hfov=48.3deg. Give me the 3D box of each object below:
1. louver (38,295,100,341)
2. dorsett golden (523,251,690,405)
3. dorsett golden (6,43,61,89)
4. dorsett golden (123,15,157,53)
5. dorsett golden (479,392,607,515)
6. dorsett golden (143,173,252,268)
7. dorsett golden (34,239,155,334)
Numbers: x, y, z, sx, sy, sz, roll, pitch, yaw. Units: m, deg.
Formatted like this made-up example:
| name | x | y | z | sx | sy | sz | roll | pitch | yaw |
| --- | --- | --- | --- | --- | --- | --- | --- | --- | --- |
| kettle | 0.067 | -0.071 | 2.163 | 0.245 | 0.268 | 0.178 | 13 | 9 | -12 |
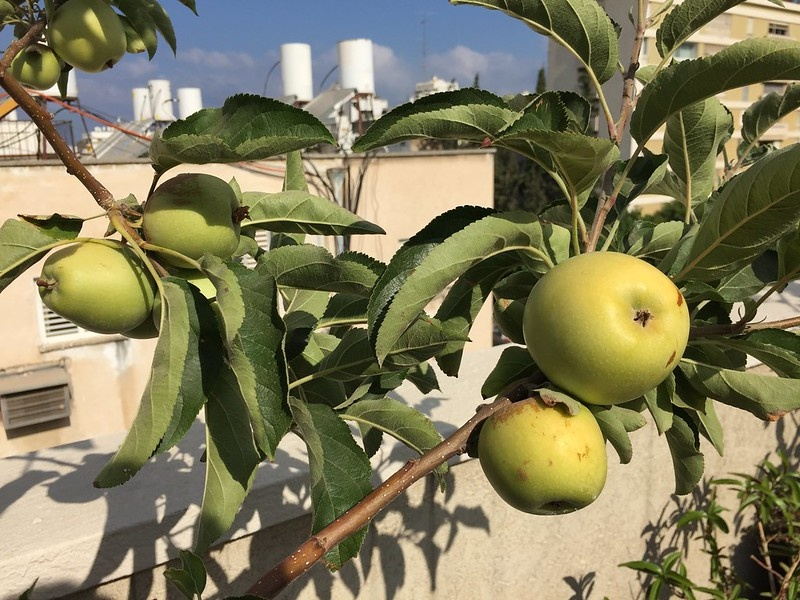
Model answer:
| name | x | y | z | sx | sy | sz | roll | pitch | yaw |
| --- | --- | --- | --- | --- | --- | --- | --- | --- | --- |
| louver | -1.887 | 0.111 | 4.956 | 0.029 | 0.300 | 0.402 | -5 | -14 | 24 |
| dorsett golden | 0.485 | 0.085 | 2.393 | 0.381 | 0.385 | 0.376 | 7 | -34 | -16 |
| dorsett golden | -1.096 | -0.705 | 2.689 | 0.131 | 0.138 | 0.135 | -1 | 16 | 20 |
| dorsett golden | -0.834 | -0.867 | 2.897 | 0.046 | 0.165 | 0.073 | -34 | -6 | 42 |
| dorsett golden | 0.386 | 0.422 | 2.469 | 0.330 | 0.348 | 0.373 | -9 | -31 | 6 |
| dorsett golden | -0.519 | -0.219 | 2.351 | 0.258 | 0.247 | 0.232 | 11 | 11 | 19 |
| dorsett golden | -0.771 | -0.013 | 2.338 | 0.307 | 0.262 | 0.244 | -1 | -9 | 11 |
